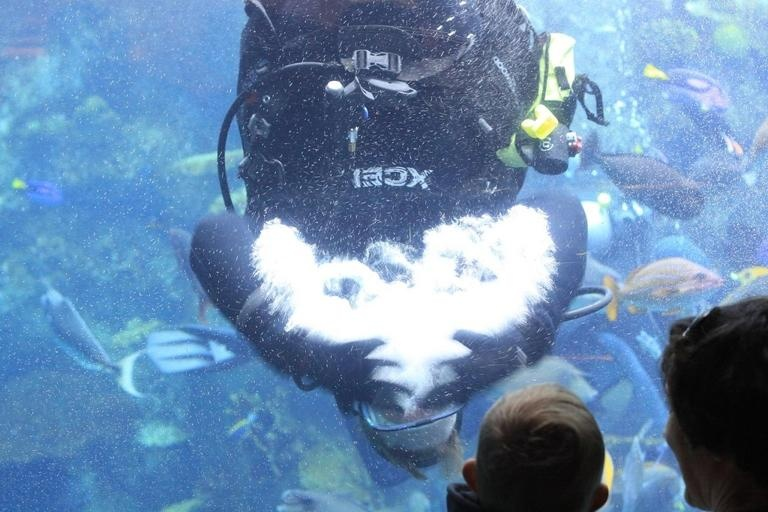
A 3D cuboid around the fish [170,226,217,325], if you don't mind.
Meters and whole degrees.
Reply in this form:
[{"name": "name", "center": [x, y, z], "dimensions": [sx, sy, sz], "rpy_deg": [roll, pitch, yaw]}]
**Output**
[{"name": "fish", "center": [-1.901, 0.103, 9.080], "dimensions": [0.299, 0.306, 1.128], "rpy_deg": [-15, 81, -15]}]
